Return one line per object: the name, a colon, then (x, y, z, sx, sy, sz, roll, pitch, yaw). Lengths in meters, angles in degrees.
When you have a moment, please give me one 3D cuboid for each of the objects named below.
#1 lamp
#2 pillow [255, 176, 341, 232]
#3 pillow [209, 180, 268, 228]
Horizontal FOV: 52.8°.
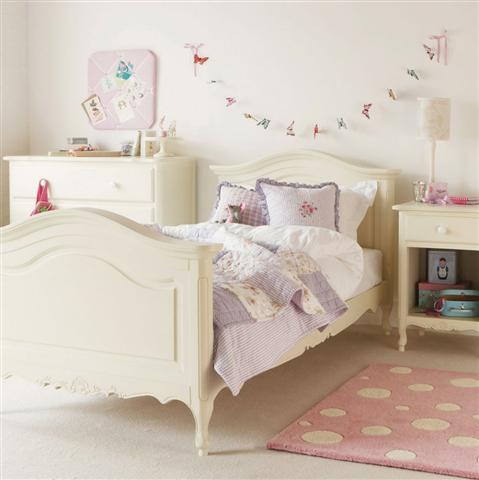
lamp: (1.185, -0.543, 2.917, 0.172, 0.635, 0.262, -1, 1, 24)
pillow: (0.339, -0.201, 2.815, 0.445, 0.307, 0.108, 0, -28, 3)
pillow: (-0.005, -0.233, 3.023, 0.327, 0.085, 0.297, 10, 41, 11)
